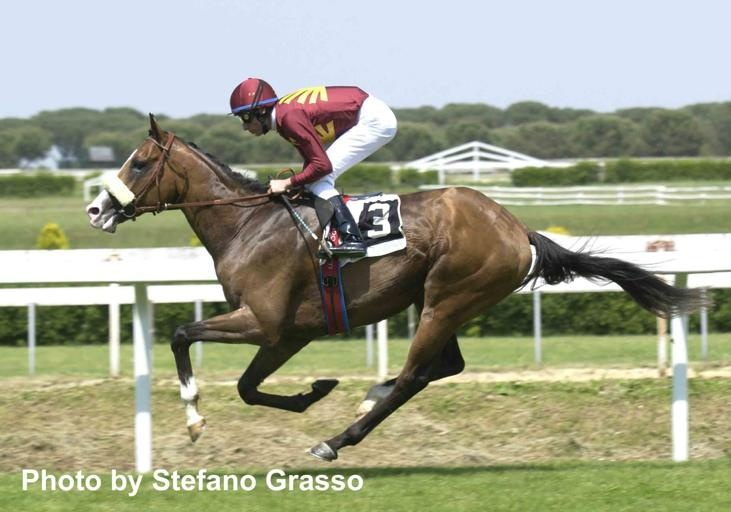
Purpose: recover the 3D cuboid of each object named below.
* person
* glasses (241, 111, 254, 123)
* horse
[{"bbox_3d":[-0.402,-0.655,9.159,1.717,1.262,0.798,-4,-9,0],"label":"person"},{"bbox_3d":[-0.751,-0.884,8.534,0.088,0.047,0.066,0,-16,18],"label":"glasses"},{"bbox_3d":[0.574,0.249,8.641,5.569,2.121,1.180,-2,7,33],"label":"horse"}]
